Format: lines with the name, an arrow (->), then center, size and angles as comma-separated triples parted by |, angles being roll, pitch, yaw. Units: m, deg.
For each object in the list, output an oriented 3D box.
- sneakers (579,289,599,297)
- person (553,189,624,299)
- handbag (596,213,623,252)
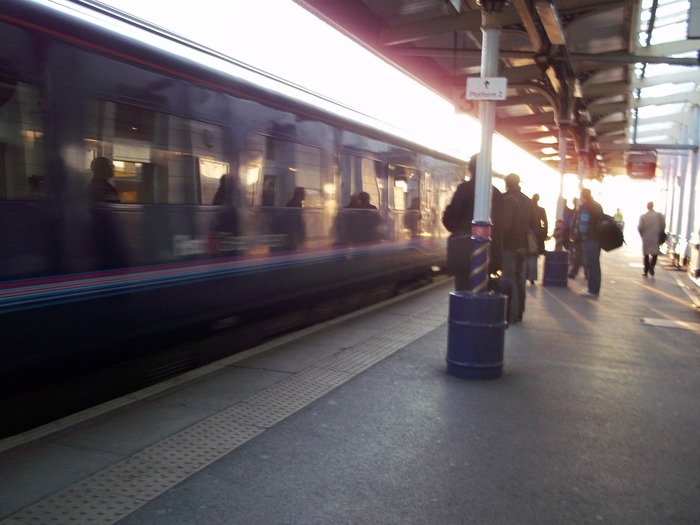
sneakers -> 5.008, 0.659, 10.965 | 0.377, 0.166, 0.133 | -2, 0, 28
person -> 5.047, -0.394, 10.728 | 0.747, 2.230, 0.942 | -1, 7, -15
handbag -> 5.245, -0.608, 10.494 | 0.400, 0.694, 0.504 | 6, 9, 41
